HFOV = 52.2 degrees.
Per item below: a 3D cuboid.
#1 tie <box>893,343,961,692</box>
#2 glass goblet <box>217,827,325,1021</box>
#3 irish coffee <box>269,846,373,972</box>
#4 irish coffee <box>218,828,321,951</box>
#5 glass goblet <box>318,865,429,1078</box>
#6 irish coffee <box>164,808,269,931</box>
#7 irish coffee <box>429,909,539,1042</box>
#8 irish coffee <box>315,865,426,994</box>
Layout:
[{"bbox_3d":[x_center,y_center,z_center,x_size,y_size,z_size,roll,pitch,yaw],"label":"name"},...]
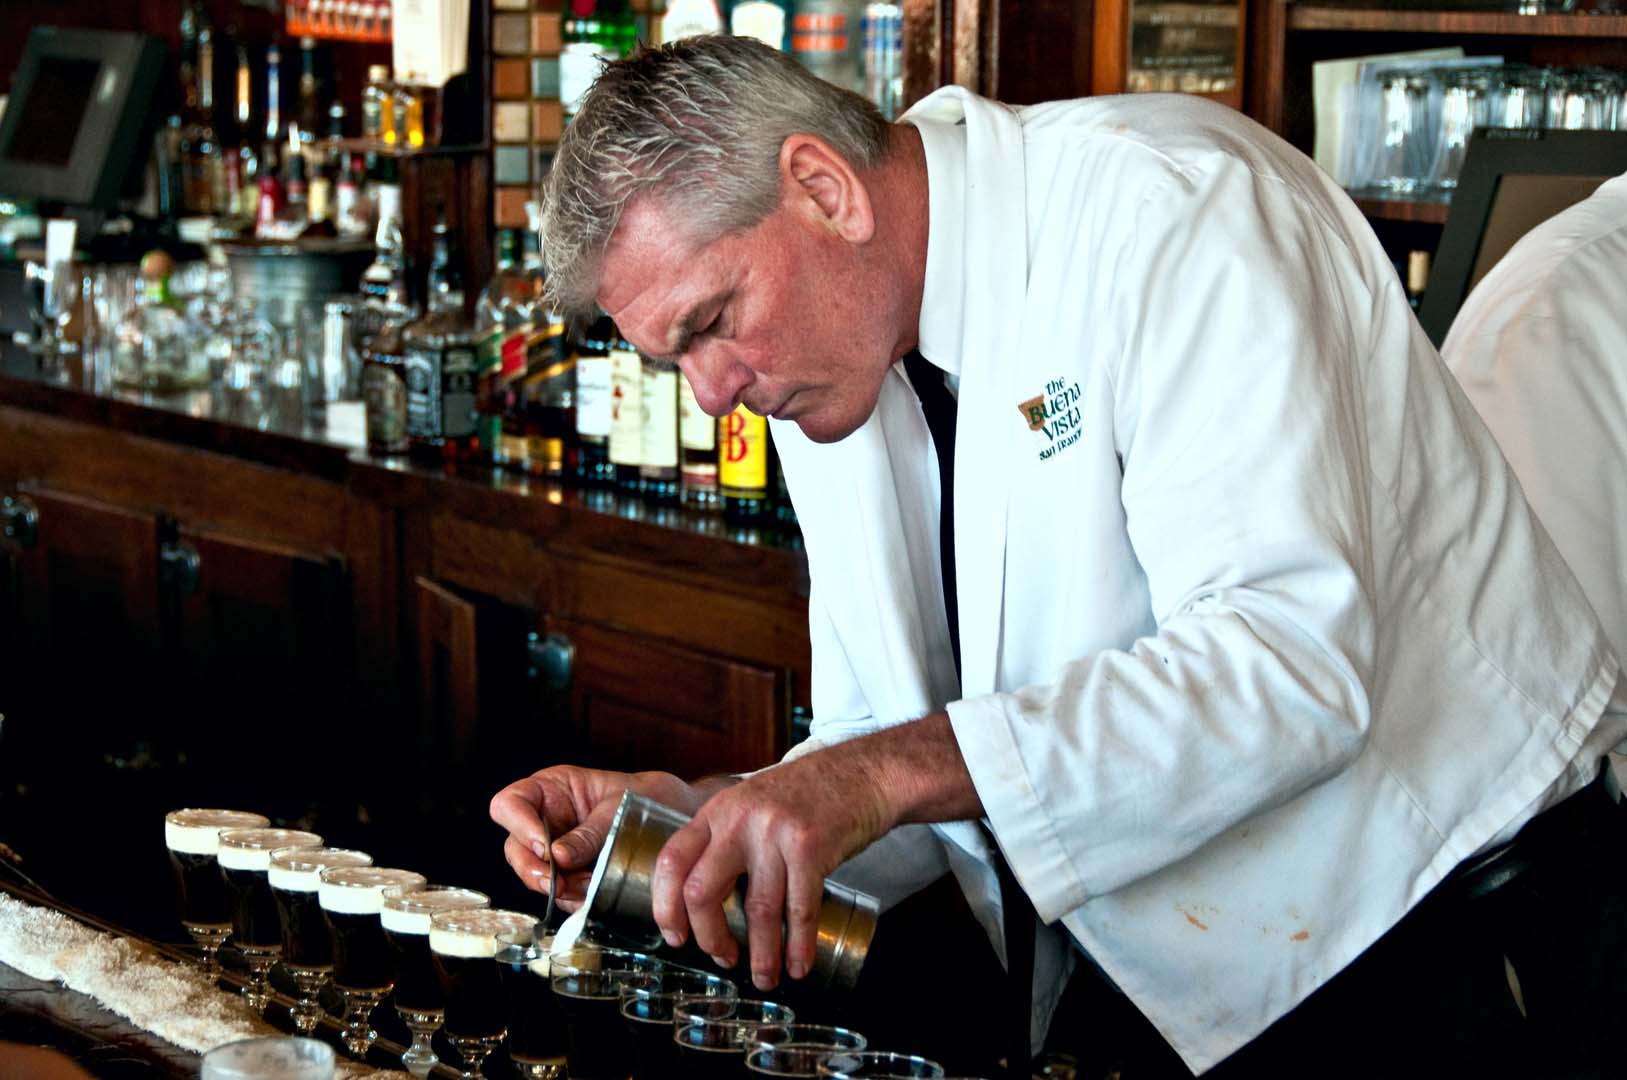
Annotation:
[{"bbox_3d":[0.170,-0.061,2.393,0.058,0.567,0.076,2,-1,-18],"label":"tie"},{"bbox_3d":[-0.700,0.512,2.168,0.119,0.234,0.121,7,-11,-36],"label":"glass goblet"},{"bbox_3d":[-0.646,0.480,2.139,0.108,0.138,0.117,-4,-16,-6],"label":"irish coffee"},{"bbox_3d":[-0.725,0.449,2.178,0.095,0.119,0.099,-3,2,29],"label":"irish coffee"},{"bbox_3d":[-0.561,0.546,2.088,0.116,0.236,0.111,8,-14,-43],"label":"glass goblet"},{"bbox_3d":[-0.808,0.436,2.275,0.132,0.166,0.138,-2,3,-32],"label":"irish coffee"},{"bbox_3d":[-0.393,0.509,2.023,0.126,0.162,0.134,-1,5,-7],"label":"irish coffee"},{"bbox_3d":[-0.560,0.510,2.102,0.122,0.157,0.132,5,-18,10],"label":"irish coffee"}]
